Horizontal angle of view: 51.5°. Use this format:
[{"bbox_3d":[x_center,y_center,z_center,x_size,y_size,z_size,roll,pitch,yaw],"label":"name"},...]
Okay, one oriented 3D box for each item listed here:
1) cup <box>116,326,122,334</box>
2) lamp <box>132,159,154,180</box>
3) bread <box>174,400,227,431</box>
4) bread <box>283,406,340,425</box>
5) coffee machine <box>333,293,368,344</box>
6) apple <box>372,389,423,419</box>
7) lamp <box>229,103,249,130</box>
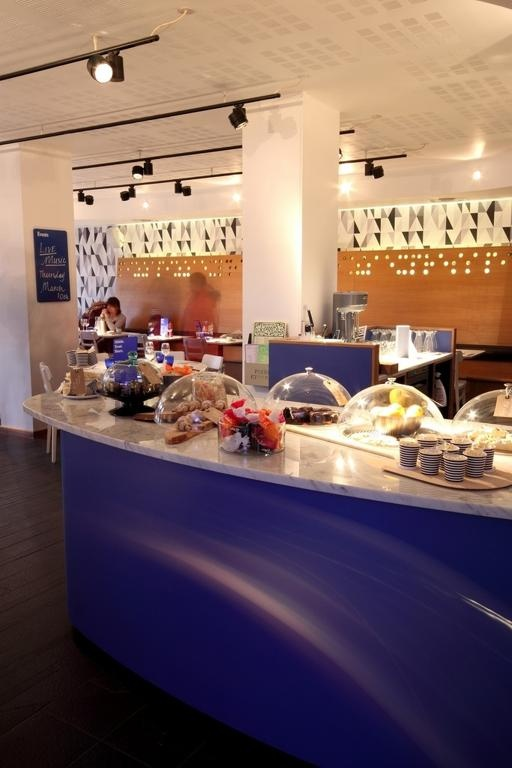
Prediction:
[{"bbox_3d":[-2.515,-0.992,9.764,0.124,0.098,0.126,-1,-4,0],"label":"cup"},{"bbox_3d":[-1.510,-2.877,7.007,0.212,0.282,0.557,-5,8,-14],"label":"lamp"},{"bbox_3d":[-0.227,0.130,2.173,0.105,0.051,0.165,11,13,2],"label":"bread"},{"bbox_3d":[0.235,0.131,2.281,0.231,0.052,0.182,-2,9,8],"label":"bread"},{"bbox_3d":[0.976,-0.702,5.472,0.342,0.541,0.357,-6,16,-12],"label":"coffee machine"},{"bbox_3d":[0.510,0.054,1.898,0.112,0.063,0.119,2,8,3],"label":"apple"},{"bbox_3d":[-0.153,-2.401,4.726,0.136,0.237,0.262,-2,8,5],"label":"lamp"}]
